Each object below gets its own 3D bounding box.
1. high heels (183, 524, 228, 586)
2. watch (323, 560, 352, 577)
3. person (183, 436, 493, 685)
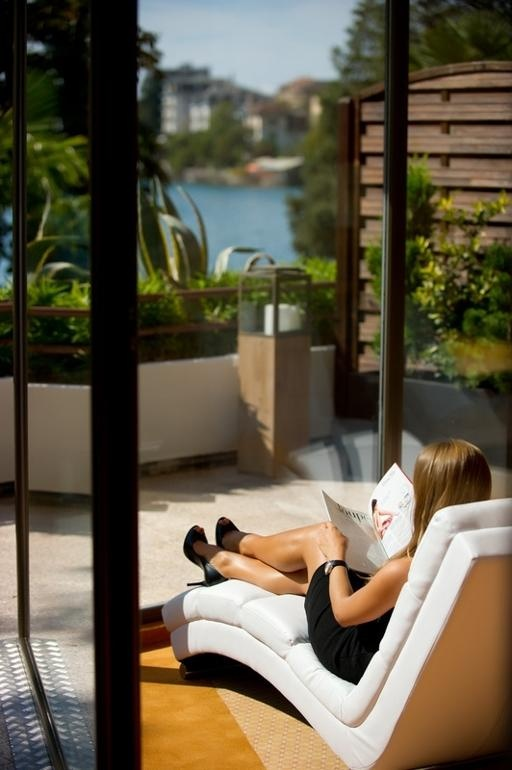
[{"bbox_3d":[-0.191,0.615,2.527,0.091,0.121,0.277,-24,50,-16],"label":"high heels"},{"bbox_3d":[0.212,0.501,1.864,0.056,0.036,0.056,5,5,1],"label":"watch"},{"bbox_3d":[0.181,0.444,2.042,0.444,0.637,1.001,4,4,-43],"label":"person"}]
